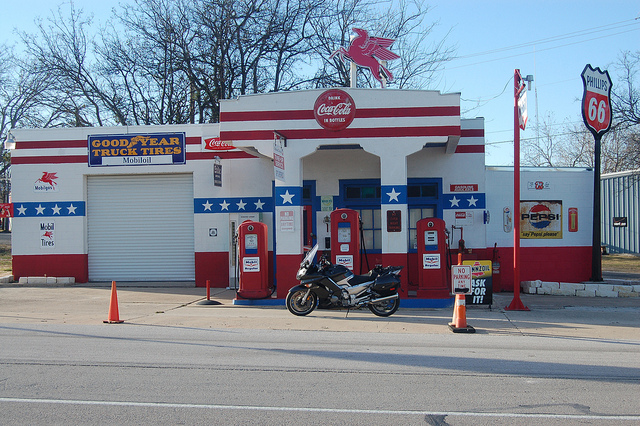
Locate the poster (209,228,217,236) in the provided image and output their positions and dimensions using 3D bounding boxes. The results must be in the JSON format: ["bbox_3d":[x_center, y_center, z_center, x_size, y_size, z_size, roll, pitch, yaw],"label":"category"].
[{"bbox_3d":[-3.801,0.699,31.235,0.280,0.273,0.104,-2,15,-8],"label":"poster"}]

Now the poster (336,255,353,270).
[{"bbox_3d":[0.903,1.567,27.902,0.743,0.712,0.399,0,-4,3],"label":"poster"}]

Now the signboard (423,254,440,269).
[{"bbox_3d":[3.729,1.571,27.799,0.481,0.413,0.160,1,3,2],"label":"signboard"}]

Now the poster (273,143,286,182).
[{"bbox_3d":[-1.231,-1.694,27.851,0.054,1.252,1.123,-10,-15,21],"label":"poster"}]

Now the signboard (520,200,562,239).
[{"bbox_3d":[8.061,0.229,30.850,1.495,1.372,0.406,0,15,-1],"label":"signboard"}]

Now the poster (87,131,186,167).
[{"bbox_3d":[-6.679,-2.396,31.603,3.589,1.221,0.352,0,15,2],"label":"poster"}]

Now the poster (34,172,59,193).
[{"bbox_3d":[-10.042,-1.191,31.871,0.781,0.676,0.029,0,-3,0],"label":"poster"}]

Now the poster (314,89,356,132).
[{"bbox_3d":[0.566,-3.464,28.437,1.397,1.428,0.125,0,-7,3],"label":"poster"}]

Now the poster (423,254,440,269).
[{"bbox_3d":[3.729,1.576,27.799,0.490,0.415,0.155,1,4,2],"label":"poster"}]

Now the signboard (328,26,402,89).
[{"bbox_3d":[1.631,-5.276,29.166,2.688,2.115,0.279,4,-6,-23],"label":"signboard"}]

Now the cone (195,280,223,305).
[{"bbox_3d":[-3.563,2.614,28.160,0.798,0.768,0.786,0,2,-22],"label":"cone"}]

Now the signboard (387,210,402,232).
[{"bbox_3d":[2.533,0.280,28.198,0.700,0.963,0.109,2,-6,0],"label":"signboard"}]

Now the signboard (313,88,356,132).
[{"bbox_3d":[0.566,-3.452,28.458,1.414,1.471,0.125,-1,-11,5],"label":"signboard"}]

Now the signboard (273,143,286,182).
[{"bbox_3d":[-1.231,-1.698,27.848,0.054,1.248,1.121,-12,-16,21],"label":"signboard"}]

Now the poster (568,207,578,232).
[{"bbox_3d":[9.205,0.220,30.878,0.367,0.858,0.292,3,15,12],"label":"poster"}]
